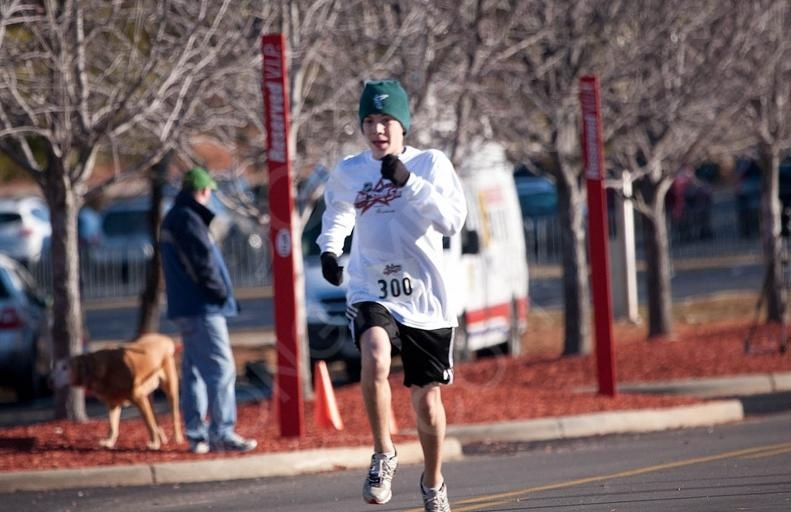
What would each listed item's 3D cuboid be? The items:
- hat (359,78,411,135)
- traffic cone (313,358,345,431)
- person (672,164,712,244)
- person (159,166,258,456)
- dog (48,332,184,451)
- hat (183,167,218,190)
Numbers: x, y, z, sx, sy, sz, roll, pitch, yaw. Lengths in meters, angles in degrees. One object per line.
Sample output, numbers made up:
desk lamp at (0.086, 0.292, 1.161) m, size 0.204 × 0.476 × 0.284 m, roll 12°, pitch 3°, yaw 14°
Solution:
hat at (-0.095, -1.592, 15.483) m, size 0.494 × 0.523 × 0.563 m, roll -1°, pitch -9°, yaw 10°
traffic cone at (-0.795, 1.692, 17.856) m, size 0.359 × 0.786 × 0.373 m, roll -3°, pitch -2°, yaw 21°
person at (4.083, -0.724, 20.283) m, size 0.552 × 1.020 × 0.266 m, roll -2°, pitch 13°, yaw 9°
person at (-2.268, 0.666, 17.617) m, size 1.150 × 3.460 × 1.372 m, roll 0°, pitch -7°, yaw -27°
dog at (-3.118, 1.675, 17.426) m, size 0.591 × 1.380 × 1.749 m, roll -2°, pitch 11°, yaw 45°
hat at (-2.288, -0.920, 17.422) m, size 0.245 × 0.184 × 0.339 m, roll 12°, pitch 6°, yaw 17°
